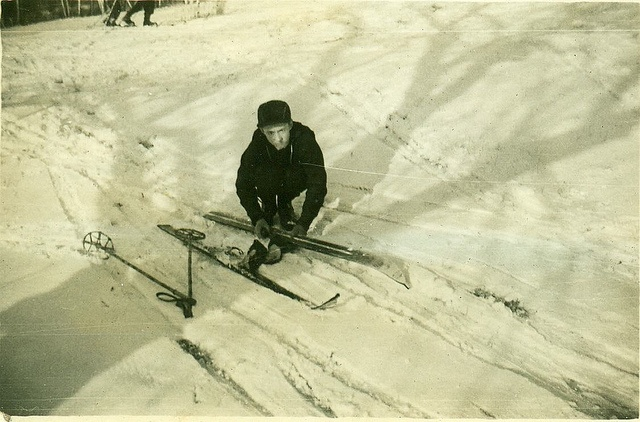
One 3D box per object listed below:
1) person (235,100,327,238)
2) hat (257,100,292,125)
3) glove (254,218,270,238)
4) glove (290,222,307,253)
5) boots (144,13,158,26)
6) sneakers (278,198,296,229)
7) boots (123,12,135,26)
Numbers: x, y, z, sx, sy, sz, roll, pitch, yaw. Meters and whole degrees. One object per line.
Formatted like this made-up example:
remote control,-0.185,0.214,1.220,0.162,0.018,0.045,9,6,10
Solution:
person,-0.373,-0.392,6.108,0.746,1.162,1.232,-7,16,-11
hat,-0.388,-0.888,6.017,0.333,0.203,0.437,2,5,18
glove,-0.533,0.153,6.138,0.051,0.171,0.125,6,45,32
glove,-0.196,0.240,6.109,0.148,0.211,0.063,34,21,34
boots,-1.651,-1.836,6.525,0.165,0.159,0.065,-3,21,-13
sneakers,-0.314,0.021,6.338,0.141,0.292,0.089,-6,0,-6
boots,-1.834,-1.844,6.494,0.089,0.130,0.046,26,26,32
